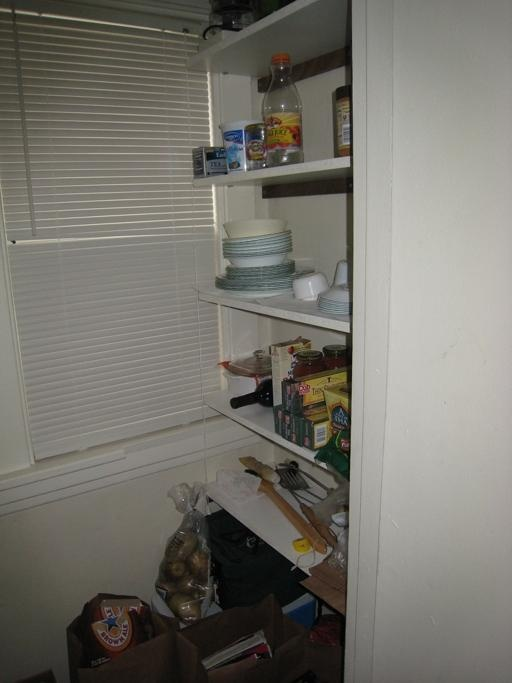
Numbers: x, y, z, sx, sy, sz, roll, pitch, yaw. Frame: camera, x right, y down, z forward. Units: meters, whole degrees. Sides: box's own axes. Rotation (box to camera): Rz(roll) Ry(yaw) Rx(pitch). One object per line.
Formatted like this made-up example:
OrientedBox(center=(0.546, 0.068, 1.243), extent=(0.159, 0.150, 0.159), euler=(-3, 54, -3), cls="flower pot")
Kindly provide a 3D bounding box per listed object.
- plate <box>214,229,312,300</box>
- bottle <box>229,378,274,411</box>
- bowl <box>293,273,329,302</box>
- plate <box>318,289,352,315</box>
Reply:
OrientedBox(center=(0.000, -0.217, 1.432), extent=(0.195, 0.085, 0.193), euler=(-9, 15, -17), cls="plate")
OrientedBox(center=(-0.007, 0.160, 1.649), extent=(0.166, 0.059, 0.055), euler=(-7, -13, -42), cls="bottle")
OrientedBox(center=(0.123, -0.122, 1.258), extent=(0.070, 0.057, 0.070), euler=(-11, 25, 5), cls="bowl")
OrientedBox(center=(0.158, -0.080, 1.094), extent=(0.046, 0.020, 0.060), euler=(11, 16, 16), cls="plate")
